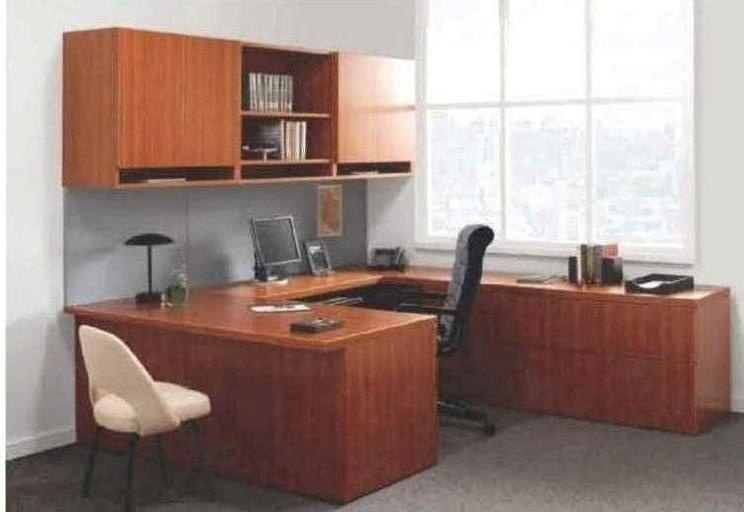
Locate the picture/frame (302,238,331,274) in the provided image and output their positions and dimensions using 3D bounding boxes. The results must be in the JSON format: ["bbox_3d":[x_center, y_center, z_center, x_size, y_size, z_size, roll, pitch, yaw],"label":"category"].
[{"bbox_3d":[-0.379,0.000,4.031,0.159,0.278,0.028,-22,8,-32],"label":"picture/frame"}]

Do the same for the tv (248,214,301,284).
[{"bbox_3d":[-0.640,-0.052,3.844,0.248,0.496,0.421,1,5,42],"label":"tv"}]

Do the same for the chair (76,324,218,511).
[{"bbox_3d":[-1.028,0.725,2.763,0.597,0.920,0.623,-3,7,-26],"label":"chair"}]

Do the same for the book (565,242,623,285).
[{"bbox_3d":[1.427,0.062,3.843,0.321,0.284,0.269,0,1,26],"label":"book"}]

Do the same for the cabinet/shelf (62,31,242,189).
[{"bbox_3d":[-1.233,-0.803,3.258,0.471,0.876,0.944,0,2,36],"label":"cabinet/shelf"}]

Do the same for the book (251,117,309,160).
[{"bbox_3d":[-0.575,-0.755,3.912,0.253,0.339,0.348,3,4,39],"label":"book"}]

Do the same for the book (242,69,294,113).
[{"bbox_3d":[-0.651,-1.031,3.796,0.361,0.242,0.048,-6,9,-44],"label":"book"}]

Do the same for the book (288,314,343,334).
[{"bbox_3d":[-0.254,0.324,2.806,0.242,0.040,0.146,-6,9,-41],"label":"book"}]
